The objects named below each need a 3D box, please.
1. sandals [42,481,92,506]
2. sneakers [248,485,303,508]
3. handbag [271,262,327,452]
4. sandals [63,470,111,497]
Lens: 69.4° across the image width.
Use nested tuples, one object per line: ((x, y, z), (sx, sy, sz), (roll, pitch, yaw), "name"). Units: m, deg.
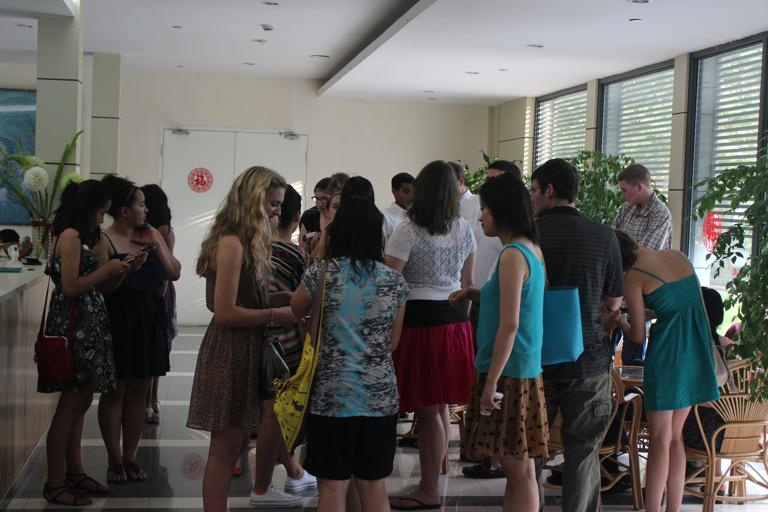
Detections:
((-2.189, 1.623, 3.863), (0.331, 0.138, 0.158), (2, 1, -6), "sandals")
((-0.758, 1.679, 3.924), (0.386, 0.152, 0.140), (1, -4, -7), "sneakers")
((-0.423, 0.493, 2.743), (0.299, 0.949, 0.090), (0, -3, 34), "handbag")
((-2.127, 1.613, 3.955), (0.346, 0.133, 0.134), (6, 3, -13), "sandals")
